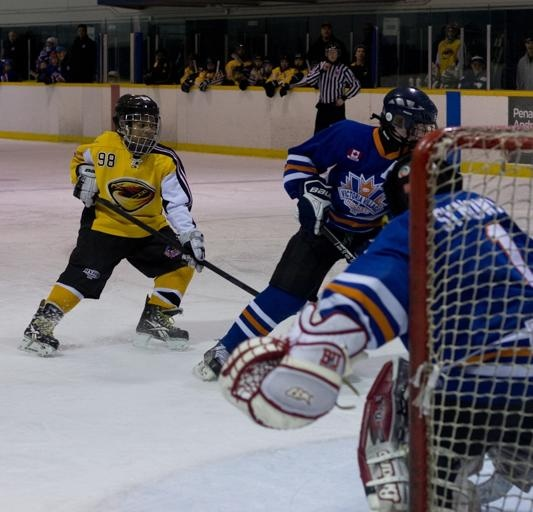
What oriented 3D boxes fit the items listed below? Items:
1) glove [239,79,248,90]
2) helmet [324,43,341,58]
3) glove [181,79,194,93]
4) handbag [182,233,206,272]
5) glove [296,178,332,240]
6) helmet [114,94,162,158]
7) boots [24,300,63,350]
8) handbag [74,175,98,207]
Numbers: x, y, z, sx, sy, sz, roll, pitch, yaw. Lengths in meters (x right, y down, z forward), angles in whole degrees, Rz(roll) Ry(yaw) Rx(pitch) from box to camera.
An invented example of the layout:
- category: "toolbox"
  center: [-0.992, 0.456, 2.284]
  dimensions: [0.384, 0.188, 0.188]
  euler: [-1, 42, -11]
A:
- category: "glove"
  center: [-0.382, -3.018, 12.227]
  dimensions: [0.186, 0.192, 0.059]
  euler: [0, -8, -1]
- category: "helmet"
  center: [0.932, -2.842, 9.696]
  dimensions: [0.190, 0.228, 0.260]
  euler: [1, 9, 5]
- category: "glove"
  center: [-1.454, -3.191, 13.014]
  dimensions: [0.292, 0.224, 0.191]
  euler: [-5, 11, -14]
- category: "handbag"
  center: [-0.339, -0.021, 3.231]
  dimensions: [0.118, 0.161, 0.076]
  euler: [8, 30, 30]
- category: "glove"
  center: [0.186, -0.204, 2.737]
  dimensions: [0.090, 0.190, 0.140]
  euler: [-2, -23, 27]
- category: "helmet"
  center: [-0.596, -0.610, 3.252]
  dimensions: [0.214, 0.304, 0.228]
  euler: [-2, 9, -10]
- category: "boots"
  center: [-0.989, 0.317, 3.157]
  dimensions: [0.159, 0.229, 0.151]
  euler: [6, 11, 32]
- category: "handbag"
  center: [-0.840, -0.313, 3.343]
  dimensions: [0.135, 0.117, 0.056]
  euler: [14, 8, 10]
